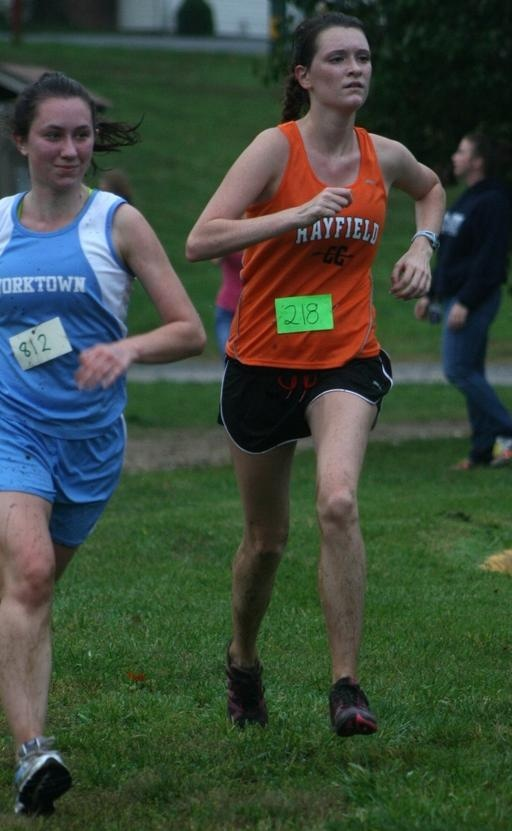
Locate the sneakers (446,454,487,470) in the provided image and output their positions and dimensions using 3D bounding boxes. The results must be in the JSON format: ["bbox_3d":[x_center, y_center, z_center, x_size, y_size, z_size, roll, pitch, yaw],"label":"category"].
[{"bbox_3d":[1.388,0.306,6.435,0.269,0.095,0.082,4,7,4],"label":"sneakers"}]

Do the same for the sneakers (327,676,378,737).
[{"bbox_3d":[0.240,0.759,2.529,0.080,0.088,0.199,-3,-8,-5],"label":"sneakers"}]

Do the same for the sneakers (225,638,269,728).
[{"bbox_3d":[-0.030,0.903,3.250,0.090,0.219,0.105,-4,-14,-6],"label":"sneakers"}]

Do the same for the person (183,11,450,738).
[{"bbox_3d":[0.176,-0.108,3.006,0.748,2.238,1.150,-3,11,11],"label":"person"}]

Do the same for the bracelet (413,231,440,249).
[{"bbox_3d":[0.584,-0.594,3.352,0.093,0.045,0.076,2,13,-2],"label":"bracelet"}]

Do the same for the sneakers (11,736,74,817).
[{"bbox_3d":[-0.532,0.915,2.447,0.128,0.239,0.143,-9,11,-22],"label":"sneakers"}]
